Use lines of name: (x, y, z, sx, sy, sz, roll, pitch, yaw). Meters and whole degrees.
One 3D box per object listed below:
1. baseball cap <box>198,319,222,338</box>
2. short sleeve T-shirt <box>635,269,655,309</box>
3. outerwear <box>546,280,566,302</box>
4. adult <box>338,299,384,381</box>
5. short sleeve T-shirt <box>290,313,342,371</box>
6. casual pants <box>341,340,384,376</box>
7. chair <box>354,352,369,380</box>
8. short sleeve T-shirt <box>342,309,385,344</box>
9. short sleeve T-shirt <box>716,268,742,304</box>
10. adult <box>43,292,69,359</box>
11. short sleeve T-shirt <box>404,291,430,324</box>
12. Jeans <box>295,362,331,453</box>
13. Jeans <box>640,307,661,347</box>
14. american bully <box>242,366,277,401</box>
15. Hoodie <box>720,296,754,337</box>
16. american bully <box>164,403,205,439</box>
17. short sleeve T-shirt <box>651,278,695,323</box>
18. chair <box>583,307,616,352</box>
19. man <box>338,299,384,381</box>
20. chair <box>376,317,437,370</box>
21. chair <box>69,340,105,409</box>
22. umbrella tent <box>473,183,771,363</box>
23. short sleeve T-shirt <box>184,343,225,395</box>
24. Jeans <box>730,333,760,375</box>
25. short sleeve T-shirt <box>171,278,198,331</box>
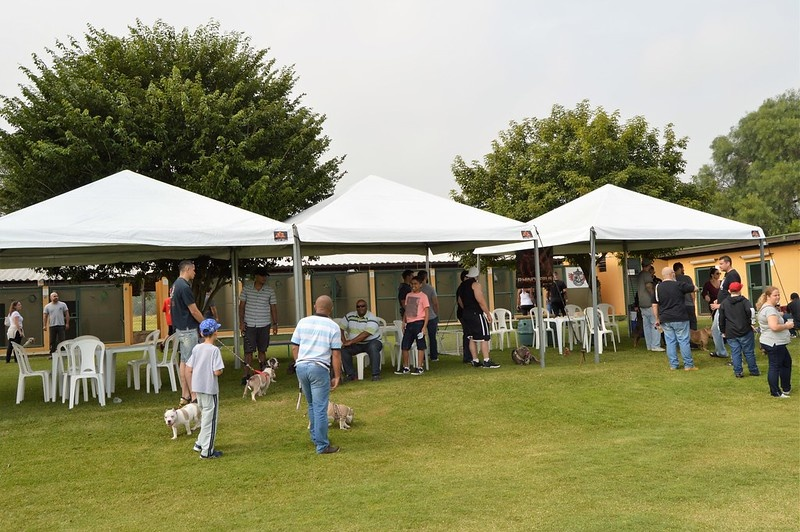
baseball cap: (-2.804, 0.899, 10.489, 0.235, 0.159, 0.315, -2, 24, 14)
short sleeve T-shirt: (6.119, 0.558, 17.434, 0.466, 0.907, 0.770, 0, -8, 11)
outerwear: (4.222, 0.680, 19.047, 0.599, 0.564, 0.373, 1, -9, -7)
adult: (-0.841, 1.554, 14.954, 0.877, 1.676, 0.802, -1, 9, 3)
short sleeve T-shirt: (-1.223, 1.084, 10.491, 0.775, 0.755, 0.432, 7, 16, 12)
casual pants: (-0.812, 1.979, 14.963, 0.848, 0.643, 0.796, 1, -8, -20)
chair: (-0.844, 2.158, 15.145, 0.499, 0.602, 0.483, 0, -8, -4)
short sleeve T-shirt: (-0.804, 1.323, 15.144, 0.928, 0.648, 0.571, -2, -13, 13)
short sleeve T-shirt: (6.755, 0.438, 14.520, 0.425, 0.720, 0.738, 2, 2, -19)
adult: (-10.585, 1.793, 21.702, 0.763, 1.878, 0.498, -4, 1, -15)
short sleeve T-shirt: (0.329, 0.888, 15.060, 0.755, 0.771, 0.441, 1, -6, 11)
Jeans: (-1.243, 2.050, 10.404, 0.439, 1.374, 0.297, 2, 9, 22)
Jeans: (6.204, 1.505, 17.326, 0.371, 1.141, 0.459, -1, -7, -28)
american bully: (-2.712, 2.281, 13.584, 0.295, 0.467, 0.805, 0, 8, 10)
Hoodie: (6.473, 0.975, 13.544, 0.655, 0.763, 0.575, -8, -12, 36)
american bully: (-3.513, 2.473, 11.417, 0.367, 0.540, 1.131, -8, -15, 10)
short sleeve T-shirt: (5.705, 0.735, 14.685, 1.042, 1.040, 0.632, -1, 2, 33)
chair: (5.034, 1.616, 17.715, 0.759, 0.984, 0.692, 6, -8, -13)
man: (-0.841, 1.554, 14.954, 0.877, 1.676, 0.802, -1, 9, 3)
chair: (0.024, 1.849, 16.719, 1.714, 1.206, 1.214, 1, -9, -19)
chair: (-5.910, 2.029, 13.313, 0.775, 1.183, 0.779, 0, -1, -8)
umbrella tent: (5.158, -0.366, 17.913, 5.498, 3.608, 5.242, -1, -3, -30)
short sleeve T-shirt: (-2.847, 1.508, 10.273, 0.536, 0.750, 0.286, -3, 9, -6)
Jeans: (6.612, 1.615, 13.620, 0.456, 0.934, 0.316, -10, 3, 22)
short sleeve T-shirt: (-3.822, 0.667, 12.436, 0.481, 0.902, 0.302, -3, 9, -11)
